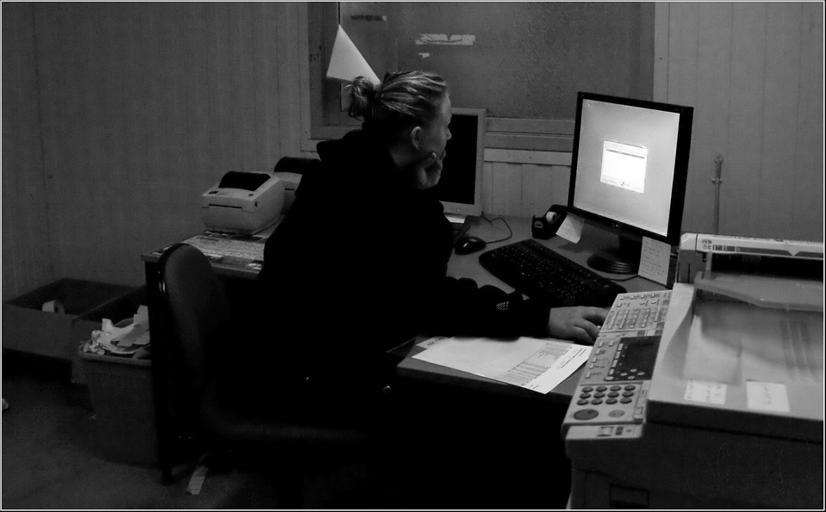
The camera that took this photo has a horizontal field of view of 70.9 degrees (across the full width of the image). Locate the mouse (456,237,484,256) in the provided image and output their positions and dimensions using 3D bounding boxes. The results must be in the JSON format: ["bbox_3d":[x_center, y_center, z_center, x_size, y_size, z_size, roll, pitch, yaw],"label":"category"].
[{"bbox_3d":[0.230,-0.043,2.398,0.094,0.023,0.072,-7,49,-6],"label":"mouse"}]

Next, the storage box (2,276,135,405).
[{"bbox_3d":[-1.734,0.398,3.039,0.643,0.363,0.604,9,19,15],"label":"storage box"}]
